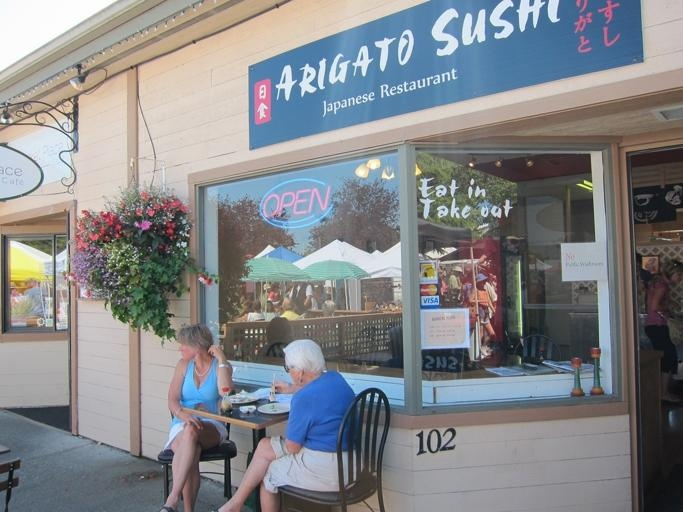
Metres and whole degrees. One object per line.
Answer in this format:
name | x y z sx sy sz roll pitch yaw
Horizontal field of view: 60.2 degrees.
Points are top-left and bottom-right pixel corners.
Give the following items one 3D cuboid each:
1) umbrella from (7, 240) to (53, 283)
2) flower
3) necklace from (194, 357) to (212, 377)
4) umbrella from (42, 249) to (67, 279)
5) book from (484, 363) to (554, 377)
umbrella | -4.576 0.113 8.567 0.582 0.608 0.272 4 12 -12
flower | -1.944 0.030 5.700 1.228 1.520 0.599 0 -6 -14
necklace | -1.216 0.973 5.155 0.109 0.160 0.059 -1 -9 2
umbrella | -4.114 0.123 8.441 0.388 0.273 0.392 -4 0 -17
book | 1.437 0.920 4.736 0.547 0.088 0.106 0 -6 -7
